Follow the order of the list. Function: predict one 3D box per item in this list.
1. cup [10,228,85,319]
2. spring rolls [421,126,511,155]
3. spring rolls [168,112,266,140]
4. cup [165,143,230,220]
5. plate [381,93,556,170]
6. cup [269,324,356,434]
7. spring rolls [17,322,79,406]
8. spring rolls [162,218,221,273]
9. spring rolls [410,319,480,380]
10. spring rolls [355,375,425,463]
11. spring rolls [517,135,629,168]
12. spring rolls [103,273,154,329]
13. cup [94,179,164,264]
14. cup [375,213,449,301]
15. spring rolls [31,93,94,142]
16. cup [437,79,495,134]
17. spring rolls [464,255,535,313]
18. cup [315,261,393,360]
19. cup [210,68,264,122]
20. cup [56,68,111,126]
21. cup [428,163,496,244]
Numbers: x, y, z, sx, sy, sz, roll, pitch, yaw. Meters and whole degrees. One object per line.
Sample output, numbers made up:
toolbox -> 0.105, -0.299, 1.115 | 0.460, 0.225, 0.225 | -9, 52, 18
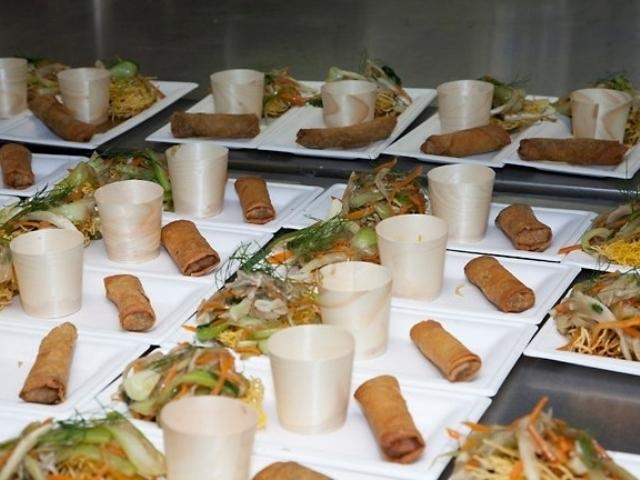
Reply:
cup -> -0.511, 0.064, 1.005 | 0.128, 0.153, 0.113 | 2, 25, -3
spring rolls -> 0.405, -0.267, 1.471 | 0.217, 0.043, 0.095 | -6, 4, -5
spring rolls -> -0.323, -0.351, 1.644 | 0.267, 0.080, 0.093 | 1, 23, -2
cup -> -0.311, -0.154, 1.356 | 0.147, 0.176, 0.141 | 3, 25, -1
plate -> 0.536, -0.457, 1.870 | 0.426, 0.058, 0.604 | 7, 24, 28
cup -> -0.013, 0.186, 0.769 | 0.172, 0.105, 0.154 | -3, 13, -8
spring rolls -> -0.420, 0.188, 0.833 | 0.068, 0.035, 0.153 | 11, 24, -18
spring rolls -> -0.284, 0.010, 1.161 | 0.093, 0.050, 0.139 | -27, 50, -12
spring rolls -> 0.198, 0.170, 0.833 | 0.057, 0.031, 0.103 | -29, 37, -5
spring rolls -> 0.083, 0.228, 0.682 | 0.070, 0.037, 0.096 | -22, 33, 5
spring rolls -> 0.649, -0.229, 1.370 | 0.308, 0.061, 0.086 | 4, 15, 18
spring rolls -> -0.353, 0.110, 0.980 | 0.067, 0.039, 0.116 | -11, 44, -34
cup -> -0.418, -0.042, 1.192 | 0.136, 0.170, 0.129 | 3, 25, -1
cup -> 0.145, 0.027, 1.075 | 0.220, 0.160, 0.163 | -2, 27, 3
spring rolls -> -0.828, -0.400, 1.733 | 0.162, 0.124, 0.325 | -12, 24, -31
cup -> 0.424, -0.388, 1.571 | 0.238, 0.131, 0.167 | -6, 16, -1
spring rolls -> 0.323, 0.081, 0.991 | 0.076, 0.037, 0.126 | 4, 18, -20
cup -> 0.020, 0.125, 0.913 | 0.193, 0.135, 0.154 | 3, -5, -3
cup -> -0.266, -0.481, 1.766 | 0.207, 0.120, 0.198 | -1, 12, 0
cup -> -0.786, -0.473, 1.783 | 0.189, 0.142, 0.150 | 2, 31, -7
cup -> 0.299, -0.065, 1.237 | 0.197, 0.135, 0.165 | -2, 1, 6
